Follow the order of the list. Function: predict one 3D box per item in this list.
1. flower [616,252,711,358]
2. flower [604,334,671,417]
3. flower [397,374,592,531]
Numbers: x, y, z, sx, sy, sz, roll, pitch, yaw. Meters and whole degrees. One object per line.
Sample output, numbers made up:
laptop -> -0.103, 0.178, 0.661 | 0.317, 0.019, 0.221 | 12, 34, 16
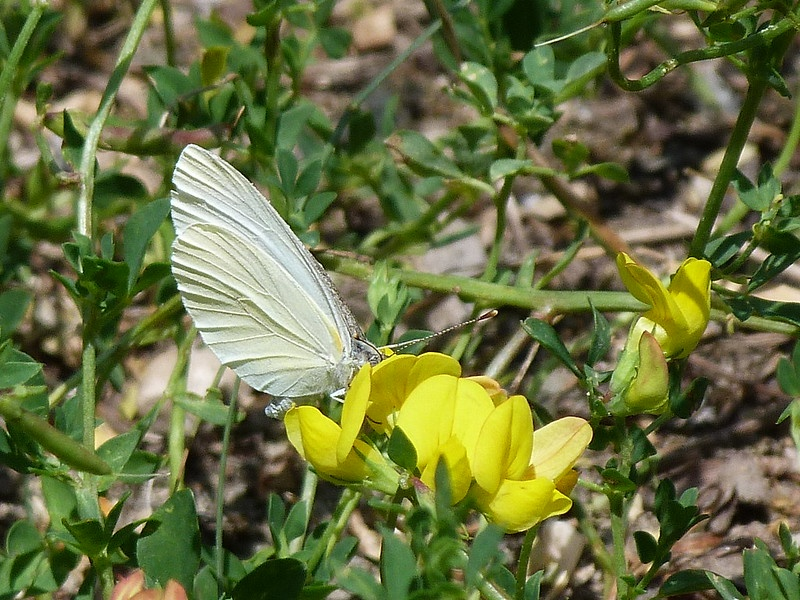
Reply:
flower -> 0.579, 0.014, 1.928 | 0.191, 0.207, 0.187 | 0, 67, 7
flower -> 0.498, 0.149, 1.850 | 0.122, 0.229, 0.084 | 6, 29, 15
flower -> 0.141, 0.287, 1.858 | 0.312, 0.388, 0.189 | 12, 90, -32
